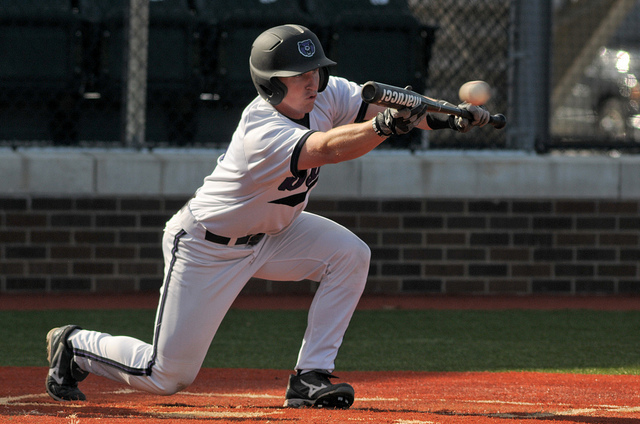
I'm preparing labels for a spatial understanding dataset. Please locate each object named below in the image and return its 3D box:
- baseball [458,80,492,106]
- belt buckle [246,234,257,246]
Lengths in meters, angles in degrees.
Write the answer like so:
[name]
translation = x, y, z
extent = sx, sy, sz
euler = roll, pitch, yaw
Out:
[baseball]
translation = 1.271, -0.935, 12.833
extent = 0.225, 0.127, 0.217
euler = -7, 2, -28
[belt buckle]
translation = -0.541, 0.232, 12.836
extent = 0.022, 0.083, 0.078
euler = 12, 37, -42
